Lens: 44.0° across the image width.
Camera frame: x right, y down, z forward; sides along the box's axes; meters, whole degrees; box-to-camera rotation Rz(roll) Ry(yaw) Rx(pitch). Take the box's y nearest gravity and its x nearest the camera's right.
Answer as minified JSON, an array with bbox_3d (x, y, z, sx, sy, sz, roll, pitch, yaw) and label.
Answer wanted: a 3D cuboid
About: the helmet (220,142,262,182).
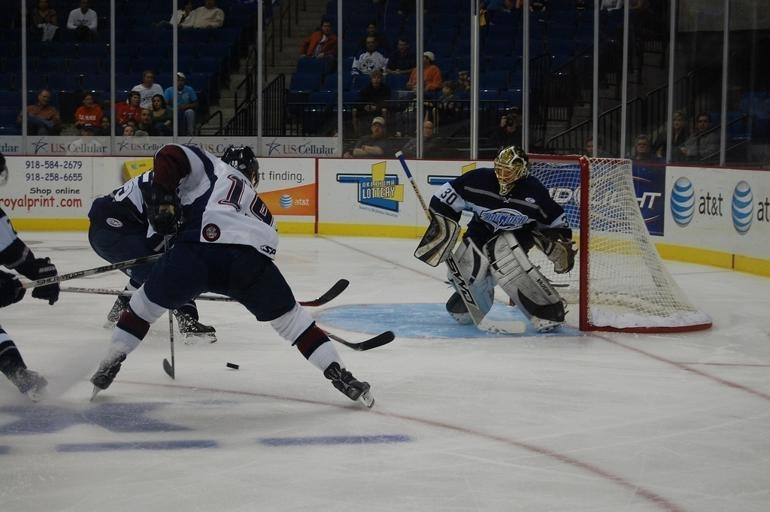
[{"bbox_3d":[-0.967,-0.600,6.246,0.231,0.243,0.282,6,10,26],"label":"helmet"}]

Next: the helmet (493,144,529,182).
[{"bbox_3d":[0.985,-0.700,7.328,0.281,0.289,0.201,1,3,-3],"label":"helmet"}]

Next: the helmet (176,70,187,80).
[{"bbox_3d":[-2.845,-2.525,13.263,0.110,0.098,0.084,1,26,0],"label":"helmet"}]

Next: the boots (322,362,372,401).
[{"bbox_3d":[-0.232,0.747,5.734,0.301,0.176,0.116,38,-5,0],"label":"boots"}]

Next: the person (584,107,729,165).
[{"bbox_3d":[3.605,-1.471,11.784,0.249,0.676,1.121,-2,4,-44],"label":"person"}]

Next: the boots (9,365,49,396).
[{"bbox_3d":[-2.161,0.767,5.738,0.215,0.194,0.109,1,3,12],"label":"boots"}]

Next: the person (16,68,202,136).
[{"bbox_3d":[-3.408,-2.122,13.253,1.594,0.883,0.263,1,3,3],"label":"person"}]

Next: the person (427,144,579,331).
[{"bbox_3d":[0.929,-0.133,7.423,1.096,1.414,0.324,1,3,9],"label":"person"}]

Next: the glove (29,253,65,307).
[{"bbox_3d":[-2.131,0.162,5.968,0.242,0.265,0.085,2,8,-43],"label":"glove"}]

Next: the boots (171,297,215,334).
[{"bbox_3d":[-1.448,0.501,7.093,0.360,0.199,0.122,12,-10,-34],"label":"boots"}]
